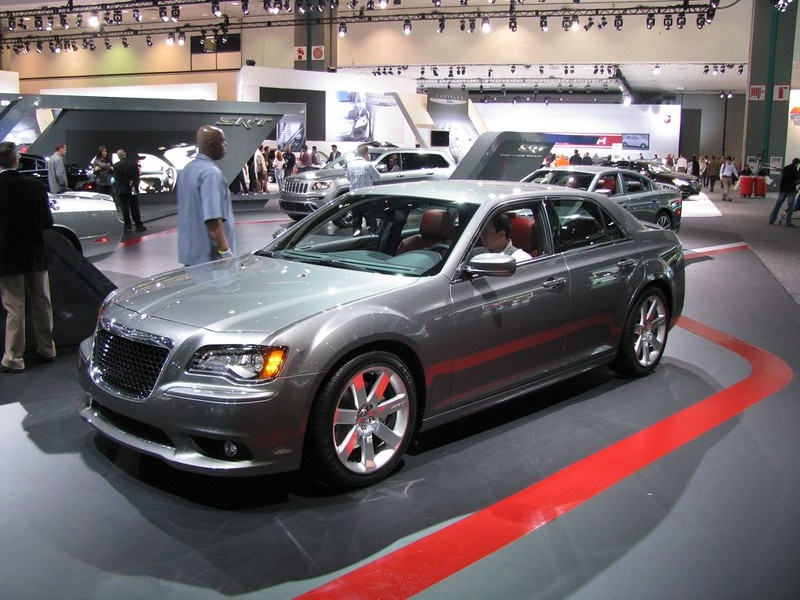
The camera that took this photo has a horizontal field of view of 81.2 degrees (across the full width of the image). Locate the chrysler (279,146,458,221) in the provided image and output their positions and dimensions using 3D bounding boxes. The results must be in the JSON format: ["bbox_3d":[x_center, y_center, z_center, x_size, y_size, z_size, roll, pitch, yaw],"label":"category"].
[{"bbox_3d":[-0.802,-4.227,16.361,6.667,2.450,3.000,-8,15,-29],"label":"chrysler"}]

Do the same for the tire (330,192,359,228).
[{"bbox_3d":[-0.455,-0.771,4.112,0.332,0.336,0.139,-5,24,-17],"label":"tire"}]

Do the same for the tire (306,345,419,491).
[{"bbox_3d":[-0.271,0.725,2.945,0.263,0.836,0.835,5,4,43],"label":"tire"}]

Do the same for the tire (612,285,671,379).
[{"bbox_3d":[2.365,0.297,4.633,0.286,0.922,0.918,11,9,42],"label":"tire"}]
